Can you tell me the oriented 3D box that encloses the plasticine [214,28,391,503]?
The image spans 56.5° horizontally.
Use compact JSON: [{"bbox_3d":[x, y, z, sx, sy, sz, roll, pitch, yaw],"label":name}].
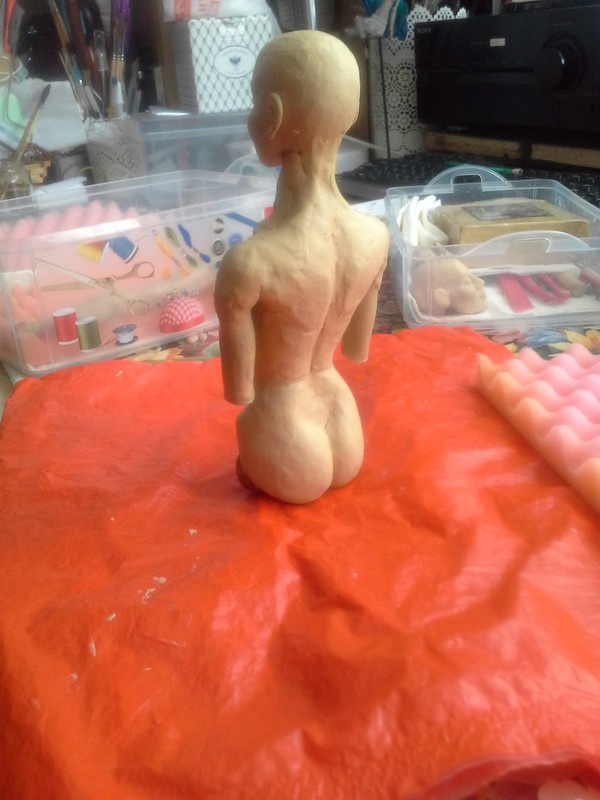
[{"bbox_3d":[0.003,-0.072,0.392,0.128,0.317,0.094,-6,30,-11],"label":"plasticine"}]
